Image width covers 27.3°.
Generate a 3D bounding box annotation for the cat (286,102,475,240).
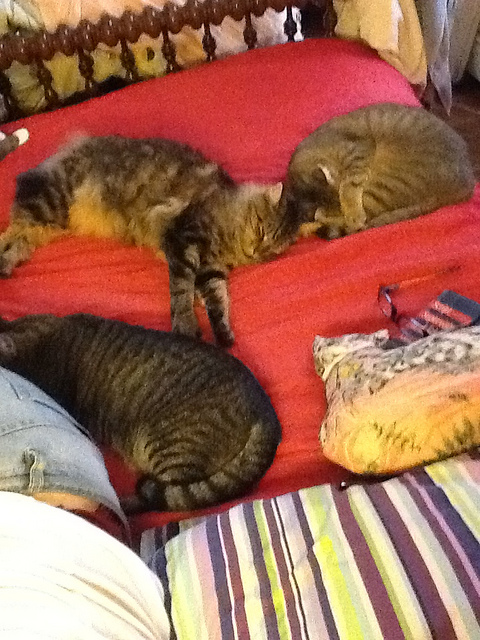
[{"bbox_3d":[0.419,-0.457,3.033,0.473,0.443,0.192,-13,-4,-1],"label":"cat"}]
